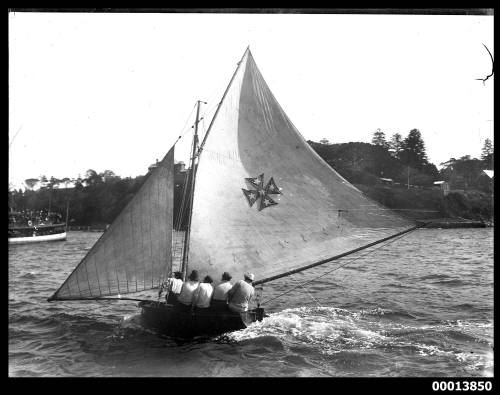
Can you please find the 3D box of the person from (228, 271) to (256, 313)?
[{"bbox_3d":[-0.237,3.027,18.570,0.721,1.267,0.745,22,-2,-15],"label":"person"}]

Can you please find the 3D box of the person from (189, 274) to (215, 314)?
[{"bbox_3d":[-1.404,3.034,18.547,0.709,1.218,0.408,2,20,-34],"label":"person"}]

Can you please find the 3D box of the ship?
[{"bbox_3d":[-23.834,2.883,65.311,2.305,4.844,6.574,-1,0,14],"label":"ship"}]

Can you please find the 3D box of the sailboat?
[{"bbox_3d":[-0.516,0.112,20.295,11.577,11.501,3.445,-8,-34,7],"label":"sailboat"}]
